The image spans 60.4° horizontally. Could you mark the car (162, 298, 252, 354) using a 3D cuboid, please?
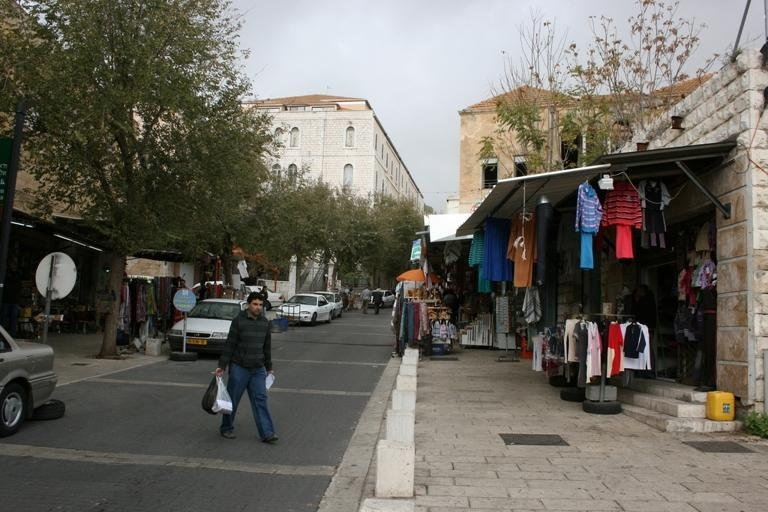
[{"bbox_3d":[-5.438,2.196,21.091,2.005,1.680,3.730,0,-5,5],"label":"car"}]

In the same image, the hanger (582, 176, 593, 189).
[{"bbox_3d":[4.015,-1.454,13.101,0.201,0.317,0.136,9,32,13],"label":"hanger"}]

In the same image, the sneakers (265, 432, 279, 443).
[{"bbox_3d":[-1.934,3.161,11.437,0.268,0.119,0.101,-31,-30,33],"label":"sneakers"}]

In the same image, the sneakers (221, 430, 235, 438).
[{"bbox_3d":[-2.736,3.157,11.651,0.105,0.086,0.203,5,-9,-40],"label":"sneakers"}]

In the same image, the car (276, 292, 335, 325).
[{"bbox_3d":[-4.085,2.815,33.482,1.383,1.577,5.603,1,1,15],"label":"car"}]

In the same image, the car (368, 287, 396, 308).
[{"bbox_3d":[0.212,3.414,54.080,1.131,1.076,2.206,-3,-8,22],"label":"car"}]

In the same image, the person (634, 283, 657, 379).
[{"bbox_3d":[5.945,1.659,15.045,0.472,1.952,1.274,1,2,21],"label":"person"}]

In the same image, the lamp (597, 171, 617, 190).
[{"bbox_3d":[4.221,-1.422,12.511,0.318,0.351,0.314,1,3,5],"label":"lamp"}]
